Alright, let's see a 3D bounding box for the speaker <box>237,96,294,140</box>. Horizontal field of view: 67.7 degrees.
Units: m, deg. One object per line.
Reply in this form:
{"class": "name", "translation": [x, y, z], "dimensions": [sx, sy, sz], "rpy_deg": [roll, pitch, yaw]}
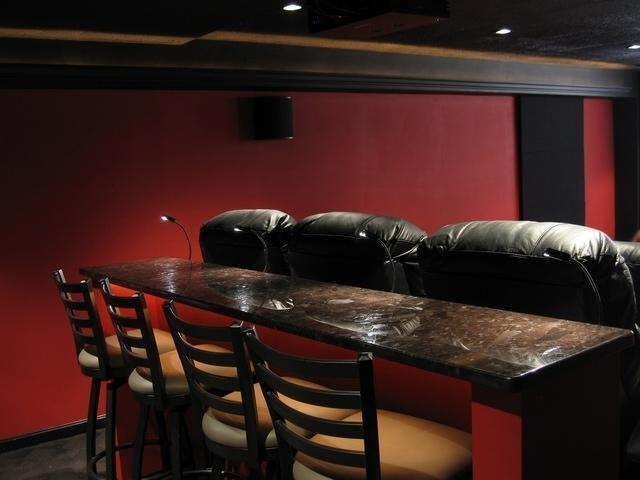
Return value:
{"class": "speaker", "translation": [-0.518, -1.096, 4.303], "dimensions": [0.480, 0.290, 0.246], "rpy_deg": [-4, 9, -32]}

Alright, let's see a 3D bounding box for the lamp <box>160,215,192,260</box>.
{"class": "lamp", "translation": [-1.195, -0.025, 3.921], "dimensions": [0.244, 0.106, 0.423], "rpy_deg": [-11, 41, -29]}
